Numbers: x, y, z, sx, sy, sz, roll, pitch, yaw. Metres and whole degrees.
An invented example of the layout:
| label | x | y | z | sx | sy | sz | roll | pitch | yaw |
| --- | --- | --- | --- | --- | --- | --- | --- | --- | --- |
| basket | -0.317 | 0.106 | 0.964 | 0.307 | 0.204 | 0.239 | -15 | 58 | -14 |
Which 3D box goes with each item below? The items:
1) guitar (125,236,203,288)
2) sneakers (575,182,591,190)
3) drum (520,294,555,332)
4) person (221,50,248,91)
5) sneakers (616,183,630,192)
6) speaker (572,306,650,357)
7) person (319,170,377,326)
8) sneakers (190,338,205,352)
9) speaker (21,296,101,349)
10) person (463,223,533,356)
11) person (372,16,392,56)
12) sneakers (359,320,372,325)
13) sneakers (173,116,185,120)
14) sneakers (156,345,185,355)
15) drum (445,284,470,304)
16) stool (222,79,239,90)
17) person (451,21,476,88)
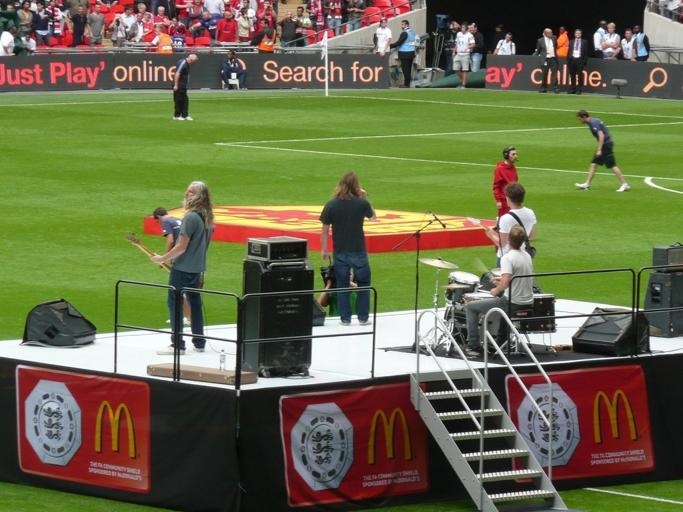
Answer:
| label | x | y | z | sx | sy | sz | roll | pitch | yaw |
| --- | --- | --- | --- | --- | --- | --- | --- | --- | --- |
| guitar | -3.105 | 0.158 | 24.548 | 1.394 | 0.147 | 0.534 | 27 | 51 | 15 |
| sneakers | 6.234 | -1.758 | 36.414 | 0.400 | 0.159 | 0.141 | 8 | 6 | 35 |
| drum | 3.112 | 0.913 | 22.096 | 0.649 | 0.529 | 0.587 | 0 | 0 | 2 |
| person | -4.406 | -7.351 | 57.020 | 0.689 | 1.356 | 1.127 | 3 | 7 | 28 |
| sneakers | 7.288 | -1.704 | 36.398 | 0.181 | 0.172 | 0.481 | 0 | 2 | -10 |
| speaker | 4.228 | 1.224 | 22.087 | 0.865 | 0.663 | 1.035 | -2 | 2 | -42 |
| person | 0.096 | -0.102 | 23.631 | 0.881 | 2.541 | 0.632 | -1 | 6 | -1 |
| sneakers | -2.237 | 1.411 | 22.103 | 0.294 | 0.244 | 0.217 | -4 | -3 | 39 |
| speaker | -4.427 | 1.069 | 22.031 | 0.969 | 0.532 | 0.707 | -1 | 3 | 26 |
| person | 2.439 | 0.546 | 21.799 | 1.073 | 1.983 | 0.679 | 0 | 6 | 5 |
| person | 1.727 | -9.287 | 60.357 | 0.697 | 1.491 | 1.234 | -1 | 6 | 2 |
| sneakers | 0.395 | 1.134 | 23.853 | 0.074 | 0.078 | 0.204 | 3 | 6 | 13 |
| sneakers | -5.508 | -4.551 | 47.445 | 0.343 | 0.120 | 0.123 | -1 | 0 | 4 |
| sneakers | -2.649 | 1.474 | 21.866 | 0.443 | 0.145 | 0.158 | 2 | 2 | 4 |
| drum | 1.832 | 0.612 | 22.430 | 0.370 | 0.296 | 0.306 | 1 | 9 | 22 |
| stool | -4.494 | -6.844 | 57.084 | 0.500 | 0.325 | 0.461 | -1 | 4 | -18 |
| person | 5.313 | -8.569 | 61.087 | 0.912 | 2.712 | 1.587 | -1 | 6 | 3 |
